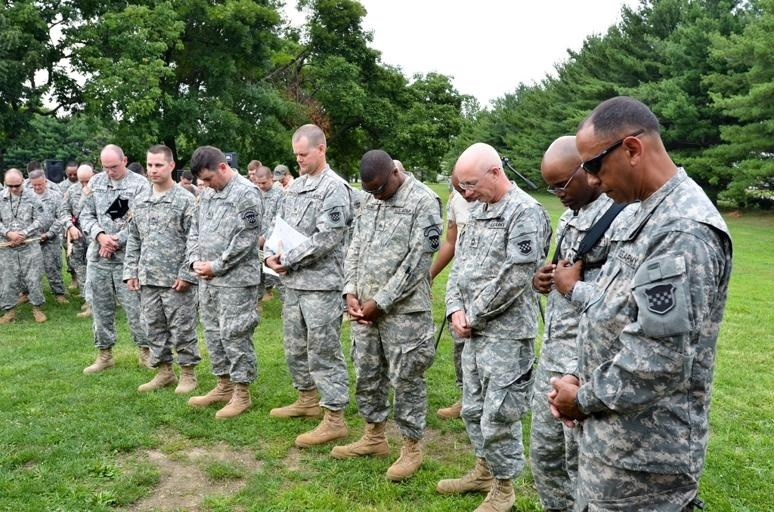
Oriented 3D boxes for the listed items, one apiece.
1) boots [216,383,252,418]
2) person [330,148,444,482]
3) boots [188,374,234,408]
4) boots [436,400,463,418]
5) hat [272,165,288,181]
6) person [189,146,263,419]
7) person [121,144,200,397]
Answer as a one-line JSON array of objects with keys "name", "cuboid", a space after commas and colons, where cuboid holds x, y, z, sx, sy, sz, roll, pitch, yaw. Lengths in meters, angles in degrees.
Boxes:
[{"name": "boots", "cuboid": [-2.109, 1.967, 10.342, 0.240, 0.380, 0.612, 1, 9, 42]}, {"name": "person", "cuboid": [0.051, 0.718, 9.295, 1.174, 3.982, 0.566, 1, 3, 2]}, {"name": "boots", "cuboid": [-2.579, 1.941, 10.667, 0.783, 0.424, 0.270, 4, -6, -15]}, {"name": "boots", "cuboid": [0.814, 2.113, 10.316, 0.430, 0.161, 0.141, 2, -2, -6]}, {"name": "hat", "cuboid": [-2.101, -1.672, 15.059, 0.268, 0.188, 0.330, -1, 38, 9]}, {"name": "person", "cuboid": [-2.215, 0.360, 10.347, 0.890, 3.664, 0.548, 1, 3, -14]}, {"name": "person", "cuboid": [-3.220, 0.184, 10.897, 1.086, 3.537, 0.471, 2, 3, 20]}]
